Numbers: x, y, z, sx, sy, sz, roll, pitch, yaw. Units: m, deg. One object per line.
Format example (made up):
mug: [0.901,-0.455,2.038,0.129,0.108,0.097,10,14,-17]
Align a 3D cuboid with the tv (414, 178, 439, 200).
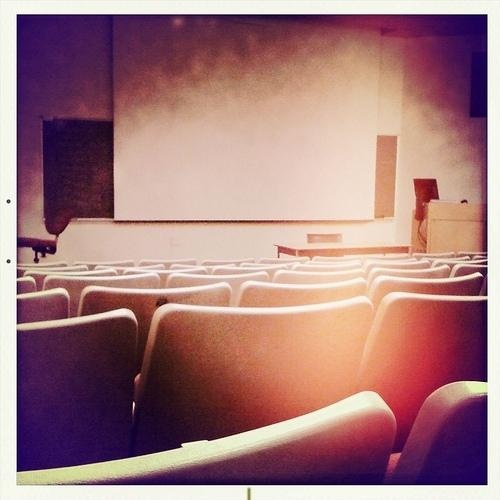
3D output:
tv: [2.038,-0.717,5.018,0.079,0.434,0.319,-4,3,-29]
